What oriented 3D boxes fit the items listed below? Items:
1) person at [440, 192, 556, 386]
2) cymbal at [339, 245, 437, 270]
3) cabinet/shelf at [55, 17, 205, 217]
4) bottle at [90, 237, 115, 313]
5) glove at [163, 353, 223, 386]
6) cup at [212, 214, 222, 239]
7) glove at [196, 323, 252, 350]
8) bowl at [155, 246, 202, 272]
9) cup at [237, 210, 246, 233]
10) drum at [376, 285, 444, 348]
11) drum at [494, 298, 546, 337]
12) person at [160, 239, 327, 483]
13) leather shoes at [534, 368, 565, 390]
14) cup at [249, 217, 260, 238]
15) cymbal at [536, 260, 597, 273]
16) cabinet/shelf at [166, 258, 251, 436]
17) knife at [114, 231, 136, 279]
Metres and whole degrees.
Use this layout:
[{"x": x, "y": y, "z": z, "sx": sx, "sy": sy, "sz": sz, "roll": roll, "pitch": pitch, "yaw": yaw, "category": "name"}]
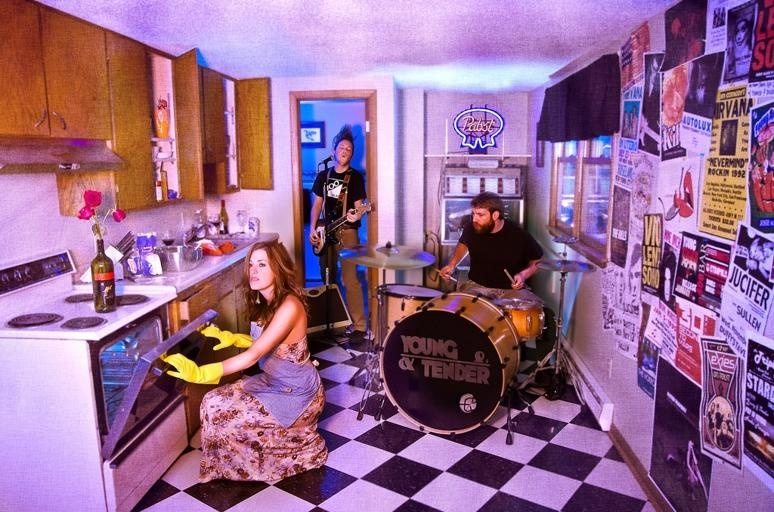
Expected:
[{"x": 0.904, "y": -0.067, "z": 4.611, "sx": 0.815, "sy": 0.895, "sz": 0.574, "roll": 17, "pitch": 28, "yaw": 35, "category": "person"}, {"x": -0.018, "y": 0.019, "z": 4.169, "sx": 0.702, "sy": 0.153, "sz": 0.470, "roll": -2, "pitch": 12, "yaw": -6, "category": "cymbal"}, {"x": -1.835, "y": -1.014, "z": 3.767, "sx": 0.416, "sy": 1.272, "sz": 1.380, "roll": 0, "pitch": 4, "yaw": 5, "category": "cabinet/shelf"}, {"x": -1.714, "y": 0.114, "z": 3.212, "sx": 0.124, "sy": 0.414, "sz": 0.253, "roll": -8, "pitch": 14, "yaw": -27, "category": "bottle"}, {"x": -1.185, "y": 0.688, "z": 3.224, "sx": 0.422, "sy": 0.161, "sz": 0.122, "roll": 4, "pitch": 5, "yaw": -43, "category": "glove"}, {"x": -1.664, "y": -0.271, "z": 5.244, "sx": 0.090, "sy": 0.142, "sz": 0.240, "roll": -5, "pitch": 12, "yaw": -16, "category": "cup"}, {"x": -1.158, "y": 0.569, "z": 3.729, "sx": 0.365, "sy": 0.195, "sz": 0.114, "roll": 1, "pitch": -22, "yaw": -40, "category": "glove"}, {"x": -1.534, "y": 0.019, "z": 3.950, "sx": 0.252, "sy": 0.098, "sz": 0.199, "roll": 2, "pitch": 3, "yaw": 1, "category": "bowl"}, {"x": -1.419, "y": -0.328, "z": 5.237, "sx": 0.079, "sy": 0.207, "sz": 0.175, "roll": -5, "pitch": 13, "yaw": -14, "category": "cup"}, {"x": 0.148, "y": 0.421, "z": 4.151, "sx": 0.481, "sy": 0.465, "sz": 0.471, "roll": 0, "pitch": 9, "yaw": -4, "category": "drum"}, {"x": 0.982, "y": 0.448, "z": 3.881, "sx": 0.304, "sy": 0.208, "sz": 0.298, "roll": 0, "pitch": 4, "yaw": 0, "category": "drum"}, {"x": -0.912, "y": 0.738, "z": 3.545, "sx": 1.102, "sy": 1.428, "sz": 0.743, "roll": -1, "pitch": 4, "yaw": -33, "category": "person"}, {"x": 1.328, "y": 1.022, "z": 4.440, "sx": 0.187, "sy": 0.152, "sz": 0.247, "roll": 1, "pitch": 17, "yaw": 7, "category": "leather shoes"}, {"x": -1.307, "y": -0.274, "z": 5.215, "sx": 0.091, "sy": 0.166, "sz": 0.157, "roll": -6, "pitch": 13, "yaw": -19, "category": "cup"}, {"x": 1.343, "y": 0.082, "z": 4.082, "sx": 0.204, "sy": 0.048, "sz": 0.206, "roll": 7, "pitch": 16, "yaw": 35, "category": "cymbal"}, {"x": -1.218, "y": 0.628, "z": 3.583, "sx": 0.400, "sy": 0.931, "sz": 1.115, "roll": -1, "pitch": 12, "yaw": -1, "category": "cabinet/shelf"}, {"x": -1.989, "y": -0.060, "z": 4.058, "sx": 0.124, "sy": 0.457, "sz": 0.124, "roll": 10, "pitch": -35, "yaw": -24, "category": "knife"}]
